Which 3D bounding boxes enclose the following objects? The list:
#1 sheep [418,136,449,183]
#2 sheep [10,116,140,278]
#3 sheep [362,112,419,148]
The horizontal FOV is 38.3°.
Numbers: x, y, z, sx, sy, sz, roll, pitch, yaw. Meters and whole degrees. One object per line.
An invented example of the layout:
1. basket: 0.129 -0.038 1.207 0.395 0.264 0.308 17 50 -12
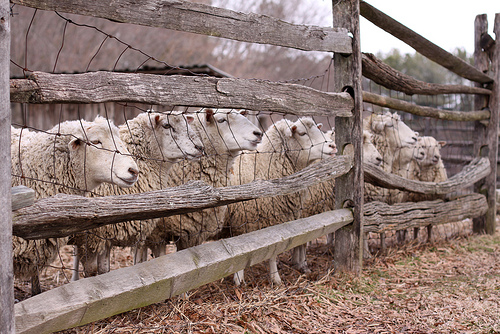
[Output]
1. sheep: 3.050 -0.112 12.180 0.446 0.592 0.859 -7 -24 11
2. sheep: -2.542 0.387 10.223 1.148 2.093 3.169 -2 5 -40
3. sheep: 2.269 -0.630 11.943 0.830 0.445 0.602 10 11 -6
